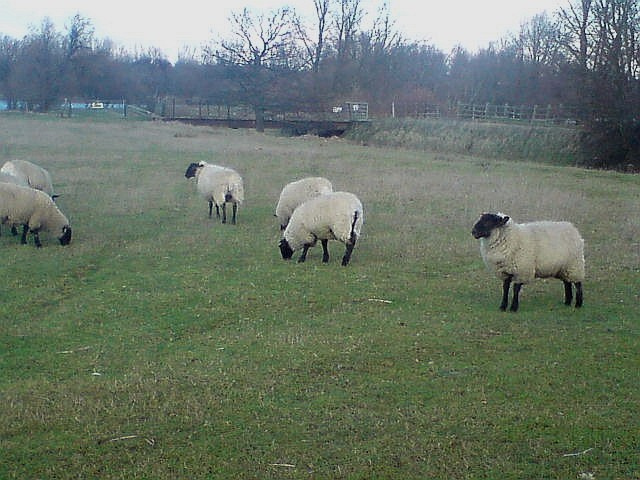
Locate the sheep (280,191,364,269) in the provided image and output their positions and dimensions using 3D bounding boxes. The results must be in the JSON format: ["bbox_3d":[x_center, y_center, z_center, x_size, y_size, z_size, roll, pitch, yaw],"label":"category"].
[{"bbox_3d":[-0.049,-0.191,17.956,3.094,1.878,0.982,-12,-4,44],"label":"sheep"}]

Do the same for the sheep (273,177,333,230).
[{"bbox_3d":[-0.731,-1.407,20.037,2.097,1.277,1.030,-24,-15,41],"label":"sheep"}]

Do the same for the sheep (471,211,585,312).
[{"bbox_3d":[4.725,0.479,14.732,2.629,2.331,1.365,-2,9,-8],"label":"sheep"}]
